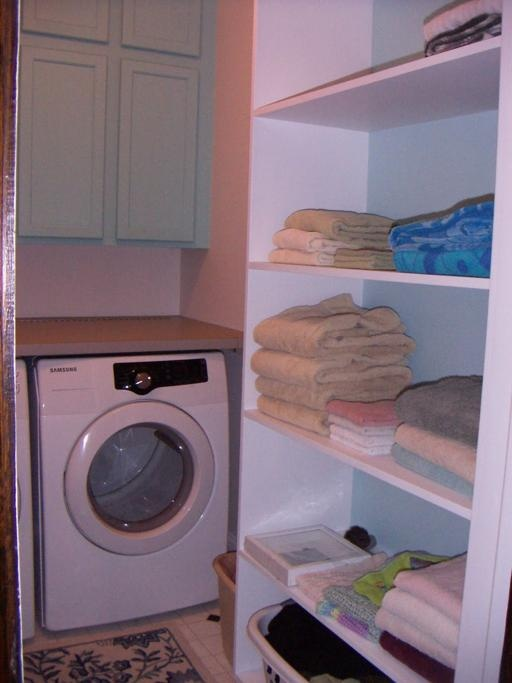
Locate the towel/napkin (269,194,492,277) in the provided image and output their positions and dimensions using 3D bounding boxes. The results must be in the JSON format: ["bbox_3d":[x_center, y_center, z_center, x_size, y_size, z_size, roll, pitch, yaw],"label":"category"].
[{"bbox_3d":[0.294,-0.207,1.159,0.298,0.133,0.667,-6,10,-24],"label":"towel/napkin"}]

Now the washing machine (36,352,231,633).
[{"bbox_3d":[-0.491,0.502,2.080,0.648,0.870,0.504,2,-3,-31],"label":"washing machine"}]

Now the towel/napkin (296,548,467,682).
[{"bbox_3d":[0.259,0.473,1.044,0.255,0.072,0.247,6,-3,-39],"label":"towel/napkin"}]
